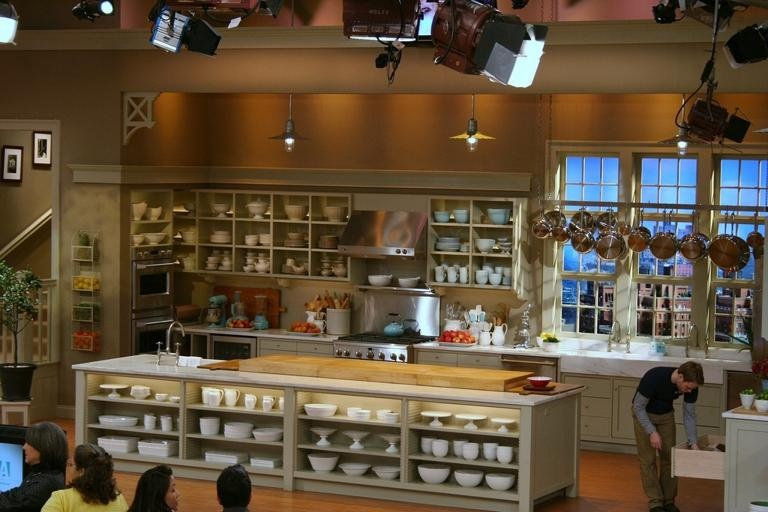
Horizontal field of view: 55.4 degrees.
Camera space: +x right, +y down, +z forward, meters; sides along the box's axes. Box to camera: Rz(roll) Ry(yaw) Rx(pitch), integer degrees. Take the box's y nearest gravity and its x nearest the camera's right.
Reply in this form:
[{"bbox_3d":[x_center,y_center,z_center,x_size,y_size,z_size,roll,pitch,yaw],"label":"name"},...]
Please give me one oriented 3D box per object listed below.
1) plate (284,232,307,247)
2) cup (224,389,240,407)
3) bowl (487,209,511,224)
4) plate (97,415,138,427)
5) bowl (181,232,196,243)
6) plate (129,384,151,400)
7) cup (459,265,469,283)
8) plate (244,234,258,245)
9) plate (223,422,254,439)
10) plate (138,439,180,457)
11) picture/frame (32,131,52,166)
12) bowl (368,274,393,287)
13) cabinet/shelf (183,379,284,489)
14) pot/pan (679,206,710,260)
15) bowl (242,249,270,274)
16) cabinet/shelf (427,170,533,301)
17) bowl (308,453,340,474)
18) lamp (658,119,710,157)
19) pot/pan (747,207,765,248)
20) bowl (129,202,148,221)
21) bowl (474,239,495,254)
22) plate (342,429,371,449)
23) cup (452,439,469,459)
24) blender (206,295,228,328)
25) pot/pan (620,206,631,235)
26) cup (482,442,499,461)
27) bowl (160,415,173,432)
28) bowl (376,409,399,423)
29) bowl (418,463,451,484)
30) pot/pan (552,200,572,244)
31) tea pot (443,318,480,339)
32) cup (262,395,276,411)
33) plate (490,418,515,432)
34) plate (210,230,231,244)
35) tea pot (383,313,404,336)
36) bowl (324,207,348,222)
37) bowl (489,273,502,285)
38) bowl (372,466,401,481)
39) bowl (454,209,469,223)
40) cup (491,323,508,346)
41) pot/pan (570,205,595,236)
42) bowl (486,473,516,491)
[{"bbox_3d":[-1.372,-0.260,11.227,0.387,0.246,0.301,1,-3,9],"label":"plate"},{"bbox_3d":[-1.730,1.587,8.208,0.209,0.188,0.142,3,-5,-2],"label":"cup"},{"bbox_3d":[1.603,-0.567,10.164,0.243,0.158,0.234,0,-1,0],"label":"bowl"},{"bbox_3d":[-3.105,1.912,8.503,0.303,0.057,0.190,-1,-2,19],"label":"plate"},{"bbox_3d":[-3.124,-0.315,11.609,0.180,0.120,0.189,-3,9,1],"label":"bowl"},{"bbox_3d":[-2.829,1.564,8.464,0.172,0.103,0.181,0,-5,-11],"label":"plate"},{"bbox_3d":[1.116,0.256,10.288,0.130,0.238,0.124,2,-3,0],"label":"cup"},{"bbox_3d":[-2.080,-0.274,11.380,0.178,0.117,0.171,0,5,-7],"label":"plate"},{"bbox_3d":[-1.635,1.945,8.186,0.314,0.163,0.227,0,-4,23],"label":"plate"},{"bbox_3d":[-2.596,2.170,8.358,0.325,0.110,0.213,0,0,20],"label":"plate"},{"bbox_3d":[-5.154,-1.629,10.988,0.251,0.506,0.434,4,-4,-24],"label":"picture/frame"},{"bbox_3d":[-0.076,0.339,10.795,0.347,0.199,0.337,2,-3,0],"label":"bowl"},{"bbox_3d":[-1.615,1.919,7.908,1.271,1.031,0.415,1,-3,17],"label":"cabinet/shelf"},{"bbox_3d":[3.684,-0.255,8.724,0.381,0.671,0.249,-1,-3,22],"label":"pot/pan"},{"bbox_3d":[-1.964,0.064,11.487,0.579,0.291,0.399,3,8,7],"label":"bowl"},{"bbox_3d":[1.394,-0.298,10.319,1.967,1.770,0.986,0,-3,17],"label":"cabinet/shelf"},{"bbox_3d":[-0.656,2.226,7.879,0.326,0.181,0.174,3,-3,-13],"label":"bowl"},{"bbox_3d":[3.538,-1.409,8.601,0.663,0.420,0.668,5,9,40],"label":"lamp"},{"bbox_3d":[4.583,-0.363,8.981,0.230,0.562,0.936,0,-4,26],"label":"pot/pan"},{"bbox_3d":[-3.615,-0.685,10.718,0.252,0.227,0.219,4,-6,-41],"label":"bowl"},{"bbox_3d":[1.419,-0.151,10.262,0.294,0.194,0.227,2,-3,-2],"label":"bowl"},{"bbox_3d":[-0.324,1.967,7.888,0.274,0.171,0.224,-1,-4,42],"label":"plate"},{"bbox_3d":[0.762,1.969,7.543,0.172,0.178,0.170,2,1,0],"label":"cup"},{"bbox_3d":[-2.590,0.833,11.324,0.282,0.477,0.258,3,-4,-12],"label":"blender"},{"bbox_3d":[3.212,-0.484,9.721,0.069,0.386,0.227,5,-5,-25],"label":"pot/pan"},{"bbox_3d":[1.072,1.983,7.410,0.189,0.142,0.146,1,-4,15],"label":"cup"},{"bbox_3d":[-2.492,1.901,8.341,0.128,0.169,0.125,2,-3,0],"label":"bowl"},{"bbox_3d":[0.046,1.680,7.711,0.125,0.058,0.159,2,2,28],"label":"bowl"},{"bbox_3d":[0.506,2.238,7.553,0.234,0.104,0.229,0,-2,0],"label":"bowl"},{"bbox_3d":[2.343,-0.432,9.601,0.282,0.505,0.092,-3,-3,42],"label":"pot/pan"},{"bbox_3d":[1.105,1.035,10.352,0.419,0.366,0.246,0,-3,13],"label":"tea pot"},{"bbox_3d":[-1.277,1.621,8.052,0.123,0.162,0.176,-1,-3,18],"label":"cup"},{"bbox_3d":[1.204,1.708,7.441,0.253,0.121,0.236,1,-3,8],"label":"plate"},{"bbox_3d":[-2.601,-0.313,11.538,0.253,0.121,0.223,-1,2,3],"label":"plate"},{"bbox_3d":[0.111,0.980,10.633,0.305,0.322,0.305,-1,4,0],"label":"tea pot"},{"bbox_3d":[-0.743,-0.638,10.947,0.254,0.151,0.258,0,-5,0],"label":"bowl"},{"bbox_3d":[1.543,0.307,10.181,0.178,0.171,0.130,1,-3,8],"label":"bowl"},{"bbox_3d":[0.023,2.275,7.721,0.271,0.131,0.193,2,-3,0],"label":"bowl"},{"bbox_3d":[1.088,-0.587,10.335,0.188,0.133,0.182,0,0,0],"label":"bowl"},{"bbox_3d":[1.617,1.095,10.297,0.151,0.299,0.301,0,-4,27],"label":"cup"},{"bbox_3d":[2.565,-0.461,9.414,0.284,0.335,0.124,10,4,24],"label":"pot/pan"},{"bbox_3d":[1.161,2.261,7.365,0.211,0.088,0.209,-2,-2,0],"label":"bowl"}]
